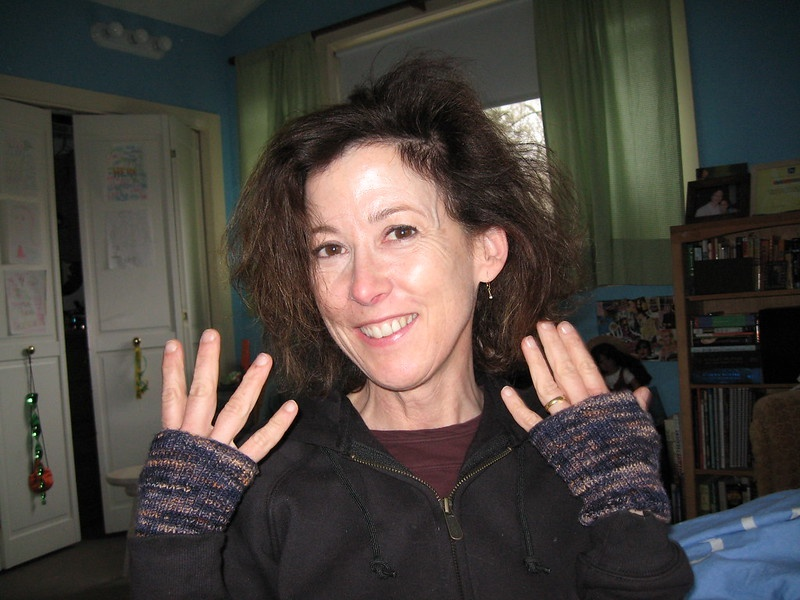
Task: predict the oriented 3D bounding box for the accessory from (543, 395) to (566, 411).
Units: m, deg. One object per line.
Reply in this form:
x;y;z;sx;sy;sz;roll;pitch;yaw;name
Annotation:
0.406;0.269;1.866;0.045;0.018;0.037;-41;-24;28;accessory
